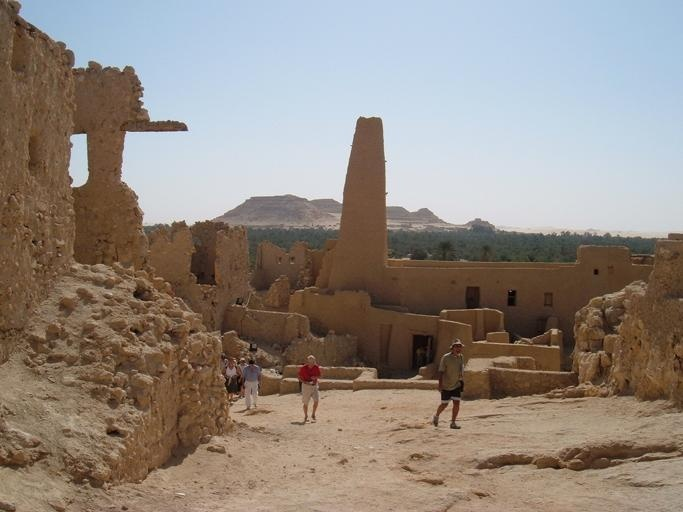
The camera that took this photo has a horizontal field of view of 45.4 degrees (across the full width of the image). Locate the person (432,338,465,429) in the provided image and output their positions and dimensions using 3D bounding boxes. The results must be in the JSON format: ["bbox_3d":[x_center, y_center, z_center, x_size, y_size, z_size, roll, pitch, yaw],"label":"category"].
[{"bbox_3d":[1.417,1.653,10.889,0.467,1.165,1.272,-4,5,7],"label":"person"}]

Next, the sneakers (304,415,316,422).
[{"bbox_3d":[-0.456,2.339,11.740,0.141,0.138,0.075,1,6,-2],"label":"sneakers"}]

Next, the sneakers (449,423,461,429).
[{"bbox_3d":[1.451,2.162,10.363,0.134,0.084,0.048,-2,4,-7],"label":"sneakers"}]
